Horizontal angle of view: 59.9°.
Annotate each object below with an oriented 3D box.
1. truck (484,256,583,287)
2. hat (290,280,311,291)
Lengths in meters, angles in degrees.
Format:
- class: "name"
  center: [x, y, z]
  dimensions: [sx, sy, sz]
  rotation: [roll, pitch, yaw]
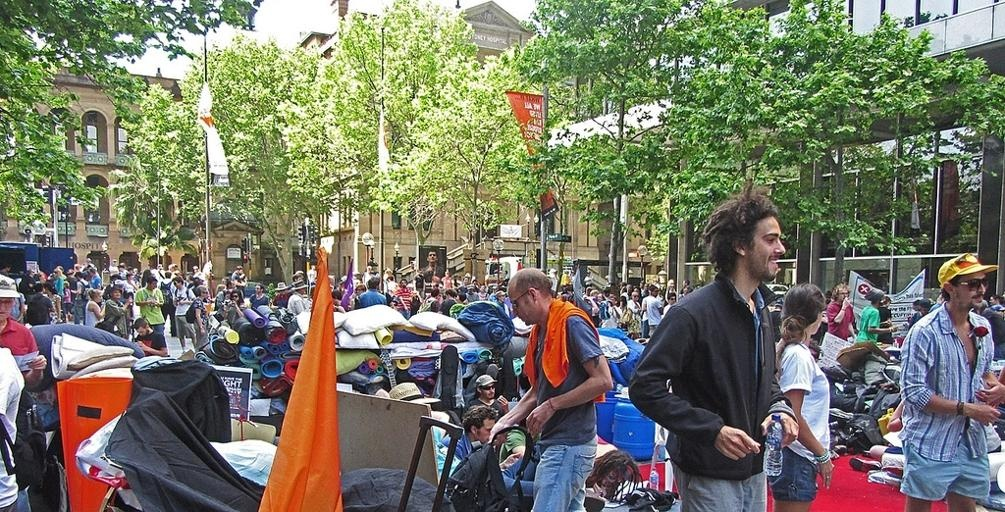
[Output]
- class: "truck"
  center: [1.981, 0.655, 44.548]
  dimensions: [4.696, 1.528, 2.494]
  rotation: [-1, 0, -5]
- class: "hat"
  center: [-7.492, 1.075, 32.333]
  dimensions: [0.508, 0.135, 0.501]
  rotation: [-12, -10, 30]
